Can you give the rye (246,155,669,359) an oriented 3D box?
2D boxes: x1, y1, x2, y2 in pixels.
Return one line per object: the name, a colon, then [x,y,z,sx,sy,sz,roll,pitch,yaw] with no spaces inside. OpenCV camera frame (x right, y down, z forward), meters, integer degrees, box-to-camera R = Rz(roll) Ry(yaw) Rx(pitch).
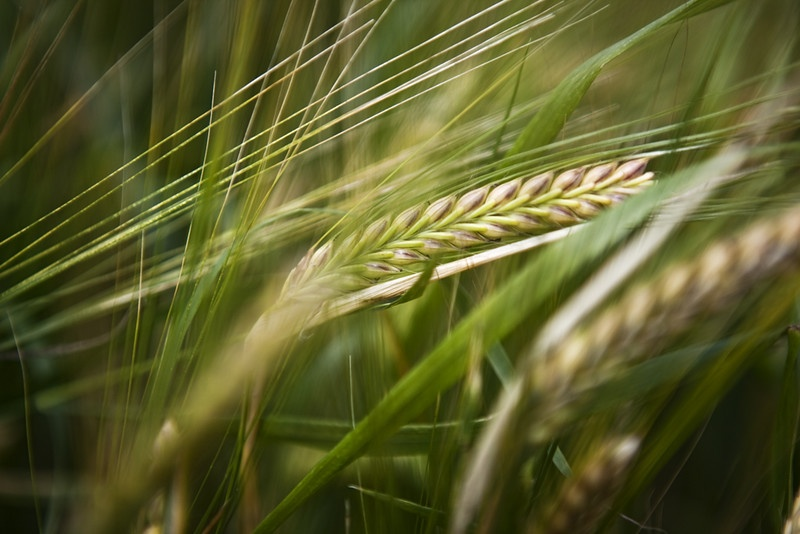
rye: [0.113,-0.010,1.291,0.475,0.104,0.135,-24,-54,1]
